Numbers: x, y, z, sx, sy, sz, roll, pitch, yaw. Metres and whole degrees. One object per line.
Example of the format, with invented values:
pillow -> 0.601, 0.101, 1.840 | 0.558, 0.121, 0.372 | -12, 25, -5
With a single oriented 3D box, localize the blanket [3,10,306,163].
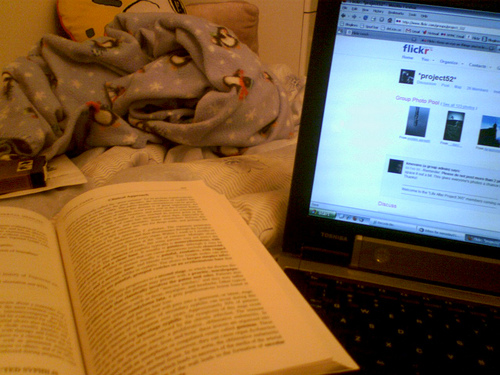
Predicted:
blanket -> -0.198, -0.266, 1.065 | 0.733, 0.302, 0.429 | -6, 24, -25
